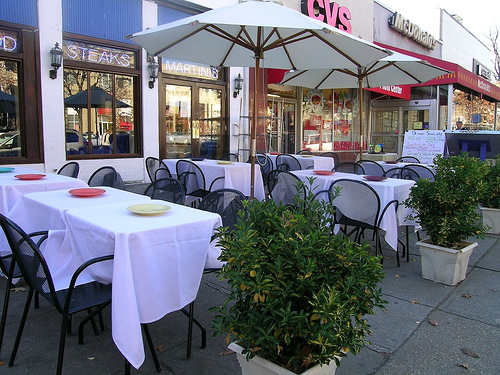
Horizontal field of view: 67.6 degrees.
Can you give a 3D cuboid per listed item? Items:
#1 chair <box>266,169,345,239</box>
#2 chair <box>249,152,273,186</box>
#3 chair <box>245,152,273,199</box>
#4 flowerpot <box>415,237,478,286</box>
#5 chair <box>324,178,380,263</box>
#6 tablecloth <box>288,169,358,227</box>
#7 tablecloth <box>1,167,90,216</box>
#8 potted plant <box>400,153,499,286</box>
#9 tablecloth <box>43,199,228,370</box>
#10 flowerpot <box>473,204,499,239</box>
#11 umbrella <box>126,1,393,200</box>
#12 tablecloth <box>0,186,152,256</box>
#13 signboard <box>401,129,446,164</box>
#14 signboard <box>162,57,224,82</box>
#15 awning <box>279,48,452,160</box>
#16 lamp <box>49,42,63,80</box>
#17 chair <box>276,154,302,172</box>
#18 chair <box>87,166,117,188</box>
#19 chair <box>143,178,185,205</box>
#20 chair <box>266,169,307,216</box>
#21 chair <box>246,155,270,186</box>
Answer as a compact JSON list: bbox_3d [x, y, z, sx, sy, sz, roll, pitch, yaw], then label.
[{"bbox_3d":[0.507,0.118,3.169,0.504,0.806,0.424,-33,32,-32],"label":"chair"},{"bbox_3d":[0.287,-0.562,8.034,0.394,0.734,0.501,1,44,8],"label":"chair"},{"bbox_3d":[0.289,-0.268,7.751,0.660,1.097,0.729,5,9,20],"label":"chair"},{"bbox_3d":[1.977,0.637,3.734,0.401,0.410,0.454,-2,5,-41],"label":"flowerpot"},{"bbox_3d":[0.916,0.240,3.326,0.439,0.850,0.525,12,35,32],"label":"chair"},{"bbox_3d":[0.939,-0.038,4.795,0.672,0.451,0.778,-9,14,-39],"label":"tablecloth"},{"bbox_3d":[-2.177,-0.031,3.794,0.489,0.221,0.812,-8,16,-42],"label":"tablecloth"},{"bbox_3d":[1.940,0.313,3.719,0.749,1.222,0.448,2,9,15],"label":"potted plant"},{"bbox_3d":[-0.708,0.260,2.401,0.893,0.631,1.049,-11,17,-41],"label":"tablecloth"},{"bbox_3d":[3.397,0.487,5.283,0.292,0.374,0.317,-7,11,-37],"label":"flowerpot"},{"bbox_3d":[0.065,-0.903,4.733,2.454,2.387,2.406,-8,11,-40],"label":"umbrella"},{"bbox_3d":[-1.529,0.163,3.017,0.692,0.424,0.768,10,17,38],"label":"tablecloth"},{"bbox_3d":[3.484,-0.807,7.463,0.302,0.900,0.842,2,4,-39],"label":"signboard"},{"bbox_3d":[-1.565,-3.126,9.947,1.793,0.526,0.071,13,2,11],"label":"signboard"},{"bbox_3d":[2.099,-1.923,6.820,2.162,1.628,2.381,-1,0,4],"label":"awning"},{"bbox_3d":[-3.903,-2.537,7.508,0.226,0.717,0.210,6,11,36],"label":"lamp"},{"bbox_3d":[0.756,-0.504,7.653,0.307,0.439,0.566,-10,16,-33],"label":"chair"},{"bbox_3d":[-1.653,-0.100,4.222,0.232,0.237,0.710,-7,11,-34],"label":"chair"},{"bbox_3d":[-1.285,0.060,5.699,0.351,0.513,0.341,9,6,28],"label":"chair"},{"bbox_3d":[0.380,0.031,3.884,0.341,0.570,0.385,17,36,33],"label":"chair"},{"bbox_3d":[0.121,-0.398,7.795,0.404,0.745,0.494,3,5,13],"label":"chair"}]
